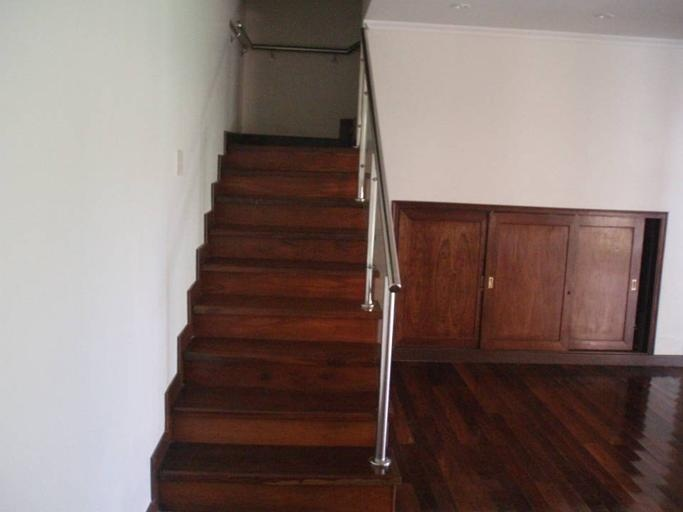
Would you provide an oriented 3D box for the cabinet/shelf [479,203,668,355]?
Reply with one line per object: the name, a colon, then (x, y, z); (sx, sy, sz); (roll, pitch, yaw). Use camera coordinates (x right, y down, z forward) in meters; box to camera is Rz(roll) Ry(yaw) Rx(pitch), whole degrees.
cabinet/shelf: (1.959, 0.219, 4.914); (1.418, 1.257, 0.490); (2, 10, 10)
